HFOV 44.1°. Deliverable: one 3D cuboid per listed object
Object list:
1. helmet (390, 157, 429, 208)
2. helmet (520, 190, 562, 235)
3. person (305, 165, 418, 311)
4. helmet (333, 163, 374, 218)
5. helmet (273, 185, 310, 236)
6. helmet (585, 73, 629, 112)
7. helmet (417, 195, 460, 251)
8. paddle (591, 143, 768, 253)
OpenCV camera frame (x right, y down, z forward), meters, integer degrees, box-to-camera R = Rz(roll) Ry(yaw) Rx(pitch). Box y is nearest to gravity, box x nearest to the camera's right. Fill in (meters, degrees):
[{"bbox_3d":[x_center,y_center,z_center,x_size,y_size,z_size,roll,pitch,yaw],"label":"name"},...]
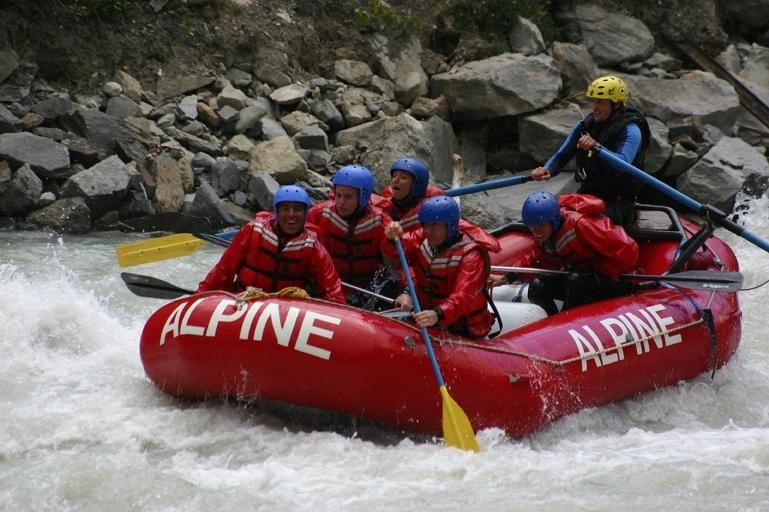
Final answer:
[{"bbox_3d":[0.365,-0.933,11.601,0.460,0.548,0.412,9,7,-10],"label":"helmet"},{"bbox_3d":[1.821,-0.459,11.067,0.375,0.418,0.484,9,6,41],"label":"helmet"},{"bbox_3d":[-0.237,-0.138,11.025,1.511,2.430,0.798,6,54,8],"label":"person"},{"bbox_3d":[-0.340,-0.795,11.117,0.415,0.491,0.529,16,14,26],"label":"helmet"},{"bbox_3d":[-1.032,-0.499,10.605,0.410,0.538,0.548,3,-7,1],"label":"helmet"},{"bbox_3d":[2.793,-2.045,11.829,0.502,0.371,0.371,-7,17,-13],"label":"helmet"},{"bbox_3d":[0.637,-0.423,10.394,0.407,0.529,0.452,13,34,33],"label":"helmet"},{"bbox_3d":[4.352,-0.809,13.828,3.521,0.372,0.279,32,79,23],"label":"paddle"}]
